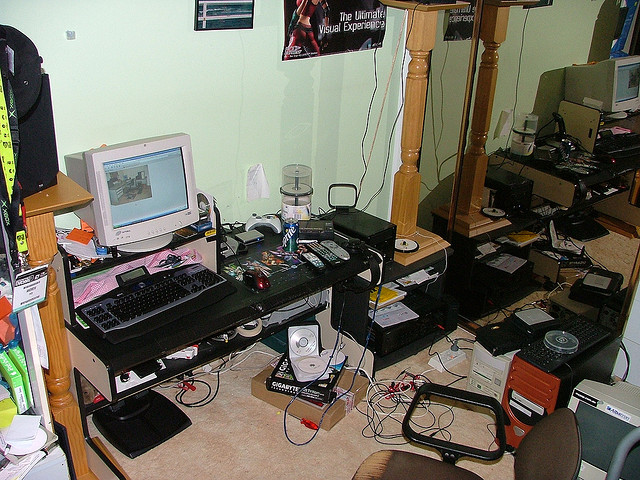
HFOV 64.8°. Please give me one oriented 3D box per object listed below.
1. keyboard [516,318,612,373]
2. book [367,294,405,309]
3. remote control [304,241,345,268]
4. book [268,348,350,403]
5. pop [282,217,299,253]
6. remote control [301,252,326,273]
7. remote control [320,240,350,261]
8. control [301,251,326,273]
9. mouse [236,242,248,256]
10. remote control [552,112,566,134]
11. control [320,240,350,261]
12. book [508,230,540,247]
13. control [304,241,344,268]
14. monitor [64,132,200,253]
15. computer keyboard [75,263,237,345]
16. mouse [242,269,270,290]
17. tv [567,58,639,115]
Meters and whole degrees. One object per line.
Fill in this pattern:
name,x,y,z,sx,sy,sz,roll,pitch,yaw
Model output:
keyboard,1.431,0.728,3.027,0.548,0.098,0.211,-22,36,-31
book,0.439,0.426,3.405,0.140,0.033,0.139,-10,21,-4
remote control,0.019,0.075,2.984,0.103,0.042,0.242,-28,50,-32
book,-0.089,0.857,3.140,0.421,0.127,0.287,5,26,17
pop,-0.180,-0.048,3.079,0.109,0.177,0.222,-4,25,-2
remote control,-0.031,0.119,2.906,0.074,0.035,0.146,-18,42,-25
remote control,0.090,0.059,3.000,0.092,0.025,0.243,-26,41,-31
control,-0.032,0.116,2.901,0.074,0.037,0.151,-19,44,-28
mouse,-0.464,0.054,2.996,0.063,0.051,0.103,-4,25,-2
remote control,1.804,-0.887,3.794,0.056,0.190,0.039,18,48,39
control,0.094,0.060,2.998,0.090,0.024,0.245,-27,42,-32
book,1.639,-0.014,4.075,0.322,0.069,0.136,-20,30,-32
control,0.027,0.086,2.970,0.092,0.036,0.257,-27,51,-30
monitor,-0.959,-0.235,2.626,0.542,0.505,0.471,-14,15,-36
computer keyboard,-0.814,0.269,2.498,0.700,0.163,0.367,-23,31,-36
mouse,-0.333,0.203,2.679,0.135,0.049,0.081,28,39,29
tv,1.952,-1.070,3.506,0.391,0.345,0.390,25,43,38
